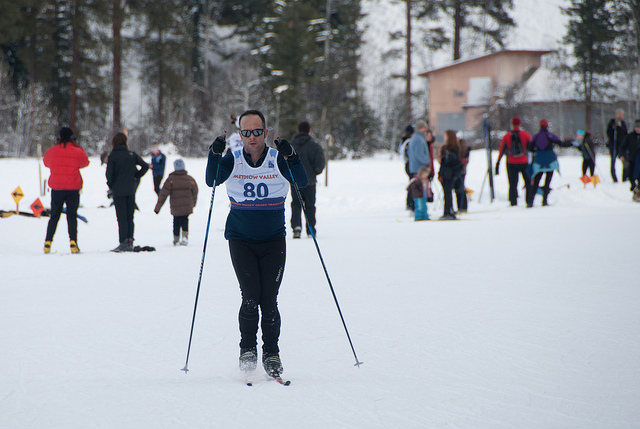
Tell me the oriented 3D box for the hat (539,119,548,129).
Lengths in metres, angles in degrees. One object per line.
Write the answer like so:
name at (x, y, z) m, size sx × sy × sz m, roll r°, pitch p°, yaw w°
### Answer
hat at (6.040, -2.468, 20.881) m, size 0.197 × 0.269 × 0.273 m, roll 3°, pitch 17°, yaw 4°

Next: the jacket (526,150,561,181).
jacket at (6.014, -1.367, 21.129) m, size 0.975 × 0.999 × 0.589 m, roll 0°, pitch -12°, yaw 4°

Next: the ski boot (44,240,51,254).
ski boot at (-5.624, 0.660, 15.842) m, size 0.126 × 0.191 × 0.268 m, roll -2°, pitch 1°, yaw -20°

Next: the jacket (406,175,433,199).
jacket at (2.468, -0.755, 19.972) m, size 0.770 × 0.811 × 0.506 m, roll 0°, pitch 18°, yaw 0°

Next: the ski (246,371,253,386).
ski at (-1.004, 2.279, 10.761) m, size 0.093 × 0.168 × 0.241 m, roll -1°, pitch 1°, yaw -6°

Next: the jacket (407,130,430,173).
jacket at (2.563, -1.649, 20.419) m, size 0.511 × 1.087 × 1.103 m, roll -5°, pitch 8°, yaw -7°

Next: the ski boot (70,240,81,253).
ski boot at (-5.089, 0.680, 15.976) m, size 0.104 × 0.144 × 0.325 m, roll -17°, pitch -15°, yaw -8°

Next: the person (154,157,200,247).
person at (-3.273, -0.298, 17.500) m, size 0.896 × 1.987 × 1.123 m, roll -1°, pitch 1°, yaw -8°

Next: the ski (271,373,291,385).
ski at (-0.563, 2.282, 10.700) m, size 0.163 × 0.170 × 0.070 m, roll 35°, pitch -5°, yaw -13°

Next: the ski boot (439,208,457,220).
ski boot at (3.344, -0.027, 20.218) m, size 0.456 × 0.290 × 0.547 m, roll -1°, pitch 1°, yaw 20°

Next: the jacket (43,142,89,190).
jacket at (-5.332, -1.028, 16.047) m, size 0.951 × 1.056 × 0.573 m, roll -1°, pitch 3°, yaw -19°

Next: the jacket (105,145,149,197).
jacket at (-4.221, -0.761, 16.736) m, size 0.893 × 1.962 × 0.543 m, roll -4°, pitch 20°, yaw -24°

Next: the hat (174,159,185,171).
hat at (-3.203, -1.131, 17.427) m, size 0.208 × 0.255 × 0.230 m, roll 0°, pitch 1°, yaw -5°

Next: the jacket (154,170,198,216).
jacket at (-3.564, -0.501, 18.802) m, size 1.296 × 1.340 × 0.660 m, roll 0°, pitch 1°, yaw -18°

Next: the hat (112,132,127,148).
hat at (-4.299, -1.595, 16.512) m, size 0.218 × 0.324 × 0.306 m, roll 6°, pitch -13°, yaw -4°

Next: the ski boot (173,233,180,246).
ski boot at (-3.254, 0.548, 17.329) m, size 0.126 × 0.253 × 0.226 m, roll -1°, pitch 1°, yaw -9°

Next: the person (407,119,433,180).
person at (2.616, -1.757, 20.472) m, size 0.656 × 1.586 × 1.781 m, roll -1°, pitch 1°, yaw 7°

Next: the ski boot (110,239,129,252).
ski boot at (-4.231, 0.646, 16.208) m, size 0.359 × 0.241 × 0.146 m, roll -2°, pitch 1°, yaw -18°

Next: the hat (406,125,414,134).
hat at (2.518, -2.408, 21.954) m, size 0.180 × 0.370 × 0.245 m, roll 1°, pitch 2°, yaw 19°

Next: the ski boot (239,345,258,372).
ski boot at (-1.030, 2.020, 10.806) m, size 0.241 × 0.343 × 0.164 m, roll -1°, pitch 1°, yaw -7°

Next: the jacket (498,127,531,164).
jacket at (5.374, -1.945, 21.212) m, size 1.145 × 1.232 × 0.446 m, roll -6°, pitch 32°, yaw 8°

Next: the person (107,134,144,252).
person at (-4.200, -0.497, 16.419) m, size 0.798 × 2.561 × 0.617 m, roll -4°, pitch 4°, yaw -22°

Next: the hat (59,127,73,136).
hat at (-5.302, -1.738, 16.035) m, size 0.248 × 0.179 × 0.236 m, roll -2°, pitch 1°, yaw -20°
